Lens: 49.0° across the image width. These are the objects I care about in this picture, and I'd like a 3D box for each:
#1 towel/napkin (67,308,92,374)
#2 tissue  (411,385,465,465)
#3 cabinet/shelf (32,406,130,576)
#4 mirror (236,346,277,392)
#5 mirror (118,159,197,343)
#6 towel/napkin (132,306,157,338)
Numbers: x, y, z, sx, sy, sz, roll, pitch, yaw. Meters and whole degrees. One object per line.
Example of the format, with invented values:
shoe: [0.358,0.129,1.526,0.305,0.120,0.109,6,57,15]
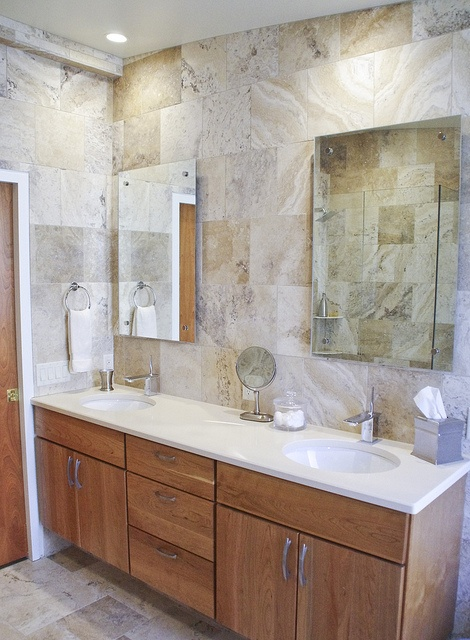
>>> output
towel/napkin: [-0.823,0.112,2.730,0.120,0.322,0.063,-4,6,-22]
tissue : [0.639,0.330,1.624,0.150,0.229,0.137,0,6,22]
cabinet/shelf: [-0.705,0.769,2.369,0.685,0.719,0.351,6,6,42]
mirror: [0.086,0.209,2.199,0.178,0.186,0.092,-1,5,13]
mirror: [-0.412,-0.346,2.649,0.076,0.880,0.632,-7,7,-44]
towel/napkin: [-0.472,0.007,2.717,0.139,0.240,0.077,1,12,-3]
